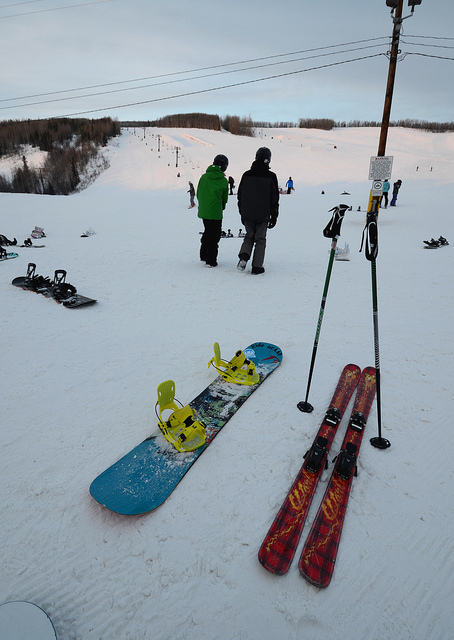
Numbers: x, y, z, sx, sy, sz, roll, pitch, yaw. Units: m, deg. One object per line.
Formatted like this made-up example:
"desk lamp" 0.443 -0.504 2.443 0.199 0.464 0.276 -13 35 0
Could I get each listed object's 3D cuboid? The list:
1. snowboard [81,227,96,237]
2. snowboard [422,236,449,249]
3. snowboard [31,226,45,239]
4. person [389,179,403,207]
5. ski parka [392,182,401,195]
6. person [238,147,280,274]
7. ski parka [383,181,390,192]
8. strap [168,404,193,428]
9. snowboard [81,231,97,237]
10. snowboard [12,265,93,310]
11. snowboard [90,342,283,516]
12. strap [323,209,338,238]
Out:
"snowboard" -3.505 -2.207 11.167 0.140 0.187 0.470 14 27 6
"snowboard" 4.469 -1.620 9.409 0.448 0.164 0.352 4 31 26
"snowboard" -4.636 -2.176 10.850 0.173 0.169 0.569 36 14 -22
"person" 6.524 -4.911 16.987 0.256 0.956 1.760 11 24 17
"ski parka" 6.261 -4.837 16.266 0.242 0.343 0.368 -1 55 7
"person" 0.478 -1.636 6.776 0.632 1.845 0.268 17 26 29
"ski parka" 5.290 -4.395 14.585 0.139 0.367 0.626 11 24 17
"strap" -0.317 0.664 3.087 0.174 0.068 0.097 -30 67 -21
"snowboard" -3.518 -2.153 11.074 0.275 0.094 0.473 3 23 -1
"snowboard" -2.445 -0.444 6.169 0.263 0.289 1.226 -20 36 -37
"snowboard" -0.116 0.655 3.409 0.443 0.113 2.327 19 32 24
"strap" 0.770 -0.692 3.225 0.088 0.218 0.213 8 23 12
